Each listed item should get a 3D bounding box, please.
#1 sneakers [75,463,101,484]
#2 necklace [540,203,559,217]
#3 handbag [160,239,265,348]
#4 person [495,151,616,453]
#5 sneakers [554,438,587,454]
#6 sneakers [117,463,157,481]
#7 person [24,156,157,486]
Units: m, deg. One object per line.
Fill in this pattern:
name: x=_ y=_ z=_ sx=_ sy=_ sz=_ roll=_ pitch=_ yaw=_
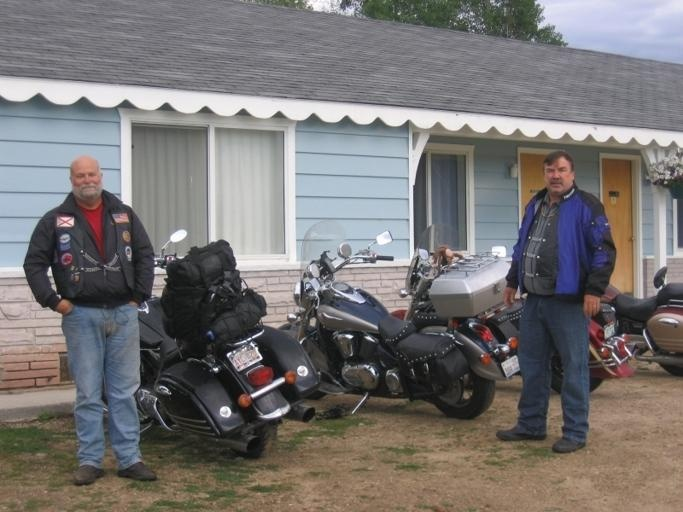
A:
sneakers: x=-1.787 y=1.525 z=4.601 sx=0.121 sy=0.129 sz=0.207 roll=-2 pitch=6 yaw=10
necklace: x=1.732 y=-0.380 z=5.459 sx=0.092 sy=0.117 sz=0.032 roll=-3 pitch=-32 yaw=19
handbag: x=-0.952 y=0.274 z=5.083 sx=0.739 sy=0.775 sz=0.811 roll=9 pitch=17 yaw=23
person: x=1.760 y=0.358 z=5.390 sx=0.926 sy=2.412 sz=0.620 roll=0 pitch=7 yaw=28
sneakers: x=1.851 y=1.529 z=5.290 sx=0.277 sy=0.100 sz=0.099 roll=3 pitch=0 yaw=-32
sneakers: x=-1.467 y=1.543 z=4.676 sx=0.245 sy=0.104 sz=0.121 roll=-3 pitch=0 yaw=23
person: x=-1.759 y=0.446 z=4.676 sx=0.866 sy=2.299 sz=0.496 roll=-5 pitch=6 yaw=-17
